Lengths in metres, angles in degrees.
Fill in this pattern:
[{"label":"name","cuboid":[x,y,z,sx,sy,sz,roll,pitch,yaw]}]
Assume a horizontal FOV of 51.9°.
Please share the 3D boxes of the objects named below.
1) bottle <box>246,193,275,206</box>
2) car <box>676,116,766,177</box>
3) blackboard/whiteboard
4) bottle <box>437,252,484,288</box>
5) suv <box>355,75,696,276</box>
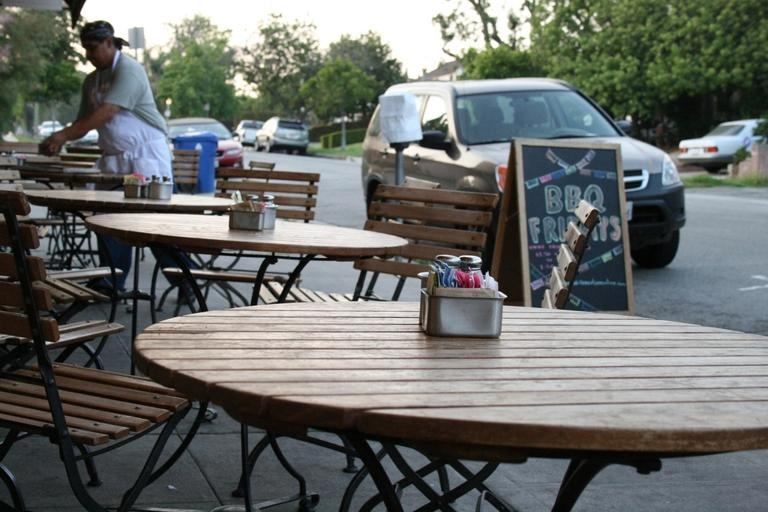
[{"label":"bottle","cuboid":[-0.718,-0.325,4.553,0.147,0.050,0.101,2,6,7]},{"label":"car","cuboid":[10.314,-3.316,24.617,2.976,0.851,1.367,-17,15,-17]},{"label":"blackboard/whiteboard","cuboid":[1.529,-0.232,6.095,0.932,1.387,0.815,0,25,37]},{"label":"bottle","cuboid":[0.259,0.059,2.922,0.179,0.161,0.096,-2,2,-3]},{"label":"suv","cuboid":[1.282,-1.001,8.757,1.993,1.635,3.571,-3,4,-33]}]
